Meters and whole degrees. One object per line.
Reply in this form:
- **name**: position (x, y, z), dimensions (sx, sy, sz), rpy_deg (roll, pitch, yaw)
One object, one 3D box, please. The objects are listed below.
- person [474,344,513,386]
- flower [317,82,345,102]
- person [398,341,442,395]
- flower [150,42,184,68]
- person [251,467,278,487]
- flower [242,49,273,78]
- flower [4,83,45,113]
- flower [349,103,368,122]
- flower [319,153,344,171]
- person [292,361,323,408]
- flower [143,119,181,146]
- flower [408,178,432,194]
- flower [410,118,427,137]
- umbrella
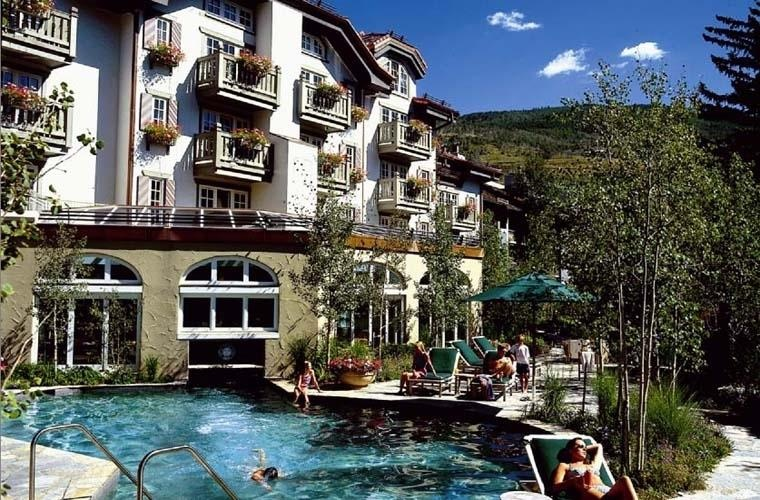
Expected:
- **person**: position (4.234, 4.021, 26.589), dimensions (1.316, 1.406, 1.141), rpy_deg (7, 1, 4)
- **flower**: position (-2.564, -8.073, 37.712), dimensions (0.926, 0.596, 0.919), rpy_deg (1, 18, -10)
- **person**: position (1.250, 4.229, 26.693), dimensions (1.350, 1.868, 1.087), rpy_deg (-5, 4, -18)
- **flower**: position (-9.217, -8.429, 32.023), dimensions (1.049, 0.891, 1.158), rpy_deg (2, -2, 38)
- **person**: position (-3.152, 6.105, 20.228), dimensions (0.776, 0.422, 0.734), rpy_deg (2, -9, 2)
- **flower**: position (-5.753, -8.660, 34.289), dimensions (1.727, 1.038, 0.571), rpy_deg (9, -11, -38)
- **flower**: position (-13.776, -5.968, 28.598), dimensions (1.586, 0.951, 1.058), rpy_deg (4, -9, -13)
- **flower**: position (-1.247, -7.580, 40.621), dimensions (0.812, 0.583, 0.825), rpy_deg (1, -2, -34)
- **flower**: position (-2.528, -4.550, 37.568), dimensions (0.865, 0.577, 0.932), rpy_deg (2, 6, 21)
- **person**: position (-2.670, 4.888, 26.816), dimensions (0.976, 1.285, 1.385), rpy_deg (0, -15, -8)
- **flower**: position (-9.427, -5.009, 31.957), dimensions (1.244, 0.936, 1.042), rpy_deg (5, 3, 39)
- **flower**: position (2.148, -3.639, 43.215), dimensions (0.596, 1.024, 1.490), rpy_deg (-3, -10, 28)
- **flower**: position (2.228, -7.270, 43.197), dimensions (0.603, 0.958, 1.420), rpy_deg (-3, -10, 27)
- **umbrella**: position (5.660, 2.741, 27.081), dimensions (3.790, 3.889, 3.627), rpy_deg (5, -1, -28)
